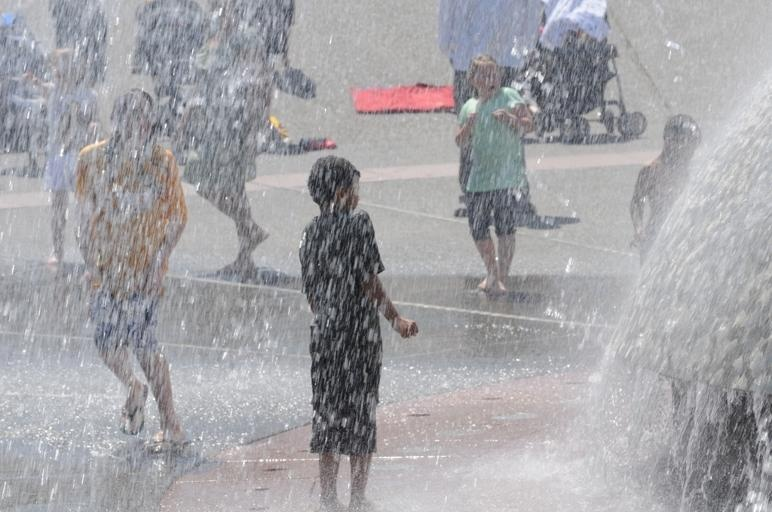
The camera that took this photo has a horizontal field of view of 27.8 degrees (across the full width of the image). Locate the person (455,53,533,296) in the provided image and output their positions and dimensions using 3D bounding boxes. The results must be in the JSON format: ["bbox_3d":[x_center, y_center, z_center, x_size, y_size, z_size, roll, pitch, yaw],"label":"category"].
[{"bbox_3d":[0.980,-0.730,14.052,0.678,2.133,0.442,3,12,11],"label":"person"}]

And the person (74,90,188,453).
[{"bbox_3d":[-1.795,0.083,11.340,0.860,2.547,0.587,2,11,8],"label":"person"}]

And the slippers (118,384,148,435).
[{"bbox_3d":[-1.803,1.124,11.452,0.189,0.371,0.157,9,8,37],"label":"slippers"}]

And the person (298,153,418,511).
[{"bbox_3d":[-0.239,0.523,10.705,0.648,2.344,0.779,-7,13,-32],"label":"person"}]

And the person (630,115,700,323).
[{"bbox_3d":[2.235,-0.512,12.754,0.450,1.232,0.675,6,12,26],"label":"person"}]
